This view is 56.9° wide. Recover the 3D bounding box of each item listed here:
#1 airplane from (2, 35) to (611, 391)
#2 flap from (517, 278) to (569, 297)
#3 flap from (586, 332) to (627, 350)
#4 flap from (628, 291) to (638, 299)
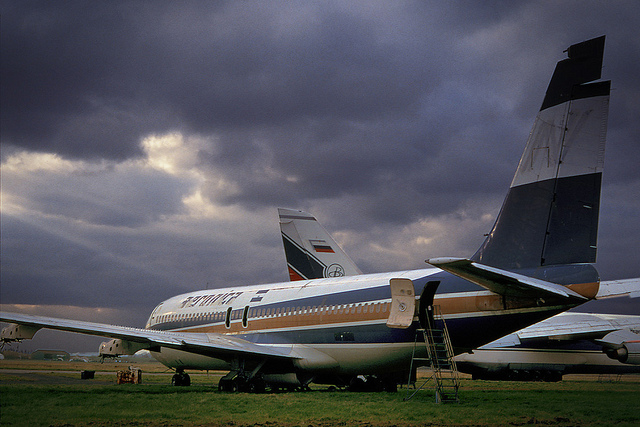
[{"bbox_3d":[1.205,2.444,22.849,17.572,6.299,16.402,3,-6,-36],"label":"airplane"},{"bbox_3d":[6.790,2.227,17.825,1.584,0.138,0.302,14,19,2],"label":"flap"},{"bbox_3d":[14.702,6.516,30.299,1.650,0.504,1.610,3,-4,-43],"label":"flap"},{"bbox_3d":[9.821,2.501,18.436,0.239,0.244,1.353,-6,-13,27],"label":"flap"}]
